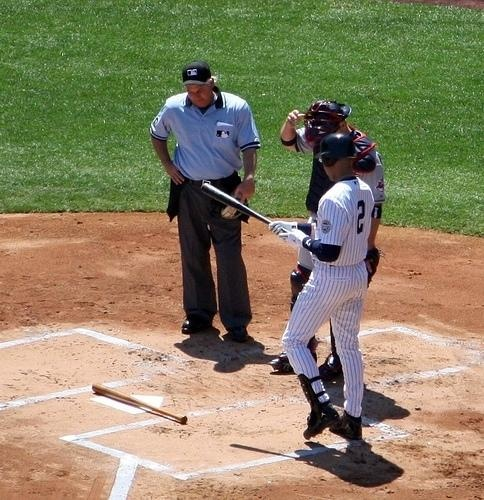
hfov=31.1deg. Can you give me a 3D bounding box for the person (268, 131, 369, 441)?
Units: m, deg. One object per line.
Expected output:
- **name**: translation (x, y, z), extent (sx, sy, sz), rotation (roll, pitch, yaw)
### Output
- **person**: translation (0.520, 0.261, 5.537), extent (0.635, 1.998, 0.747), rotation (3, 15, 2)

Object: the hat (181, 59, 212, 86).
- **hat**: translation (-0.370, -1.399, 6.798), extent (0.191, 0.120, 0.238), rotation (0, 12, 11)

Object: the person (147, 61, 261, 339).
- **person**: translation (-0.319, -0.373, 7.152), extent (0.942, 2.325, 0.616), rotation (5, 16, 12)

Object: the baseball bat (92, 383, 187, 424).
- **baseball bat**: translation (-0.734, 1.097, 6.069), extent (0.696, 0.076, 0.086), rotation (13, 22, 34)

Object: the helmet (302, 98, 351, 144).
- **helmet**: translation (0.614, -0.935, 6.208), extent (0.399, 0.256, 0.307), rotation (-13, 15, -24)

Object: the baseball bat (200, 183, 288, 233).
- **baseball bat**: translation (-0.018, -0.305, 6.508), extent (0.821, 0.107, 0.109), rotation (24, 10, -33)

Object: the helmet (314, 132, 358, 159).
- **helmet**: translation (0.594, -0.654, 5.432), extent (0.218, 0.153, 0.119), rotation (3, 14, 5)
